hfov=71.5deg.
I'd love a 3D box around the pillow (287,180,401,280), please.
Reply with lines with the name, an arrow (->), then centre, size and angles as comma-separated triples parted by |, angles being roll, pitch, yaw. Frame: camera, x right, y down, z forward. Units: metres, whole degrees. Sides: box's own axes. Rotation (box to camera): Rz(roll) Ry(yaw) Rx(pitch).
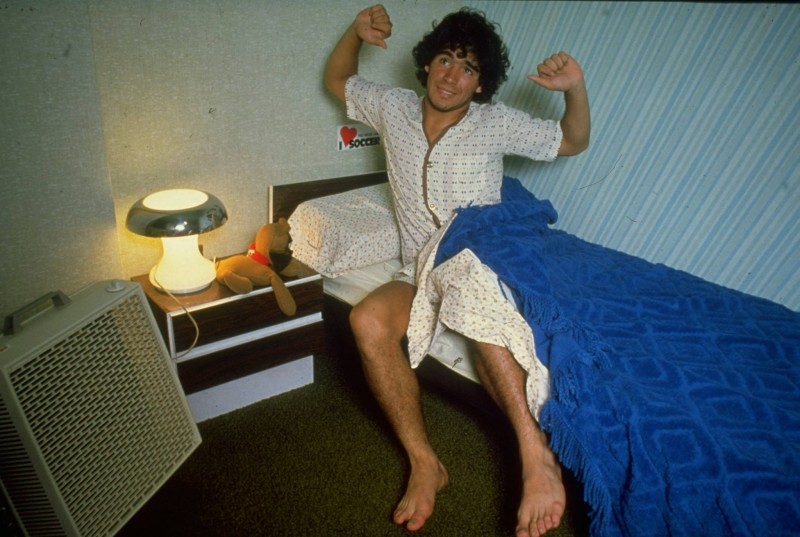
pillow -> -0.265, -0.115, 2.525 | 0.438, 0.099, 0.404 | -17, 49, -17

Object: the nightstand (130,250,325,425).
nightstand -> -0.727, 0.272, 2.307 | 0.508, 0.511, 0.692 | 20, 25, 32
